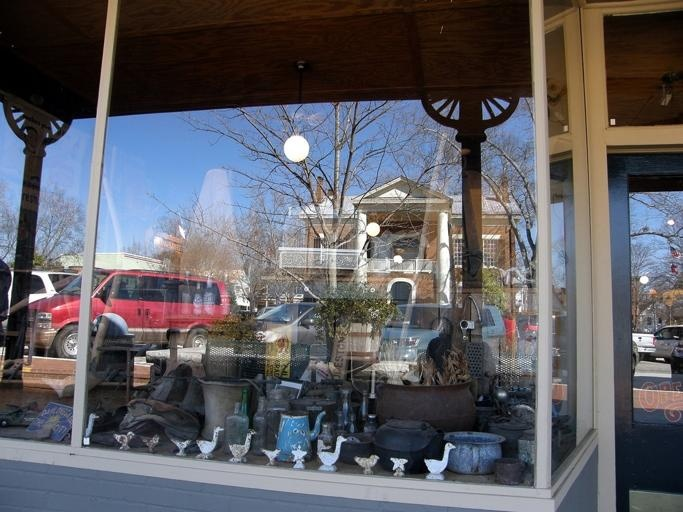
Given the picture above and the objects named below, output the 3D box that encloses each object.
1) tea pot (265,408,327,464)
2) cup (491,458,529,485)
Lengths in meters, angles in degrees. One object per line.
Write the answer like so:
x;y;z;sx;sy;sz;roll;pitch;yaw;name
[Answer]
-0.201;0.885;2.795;0.276;0.214;0.177;6;-8;-35;tea pot
0.752;0.959;2.504;0.141;0.093;0.151;0;12;0;cup
